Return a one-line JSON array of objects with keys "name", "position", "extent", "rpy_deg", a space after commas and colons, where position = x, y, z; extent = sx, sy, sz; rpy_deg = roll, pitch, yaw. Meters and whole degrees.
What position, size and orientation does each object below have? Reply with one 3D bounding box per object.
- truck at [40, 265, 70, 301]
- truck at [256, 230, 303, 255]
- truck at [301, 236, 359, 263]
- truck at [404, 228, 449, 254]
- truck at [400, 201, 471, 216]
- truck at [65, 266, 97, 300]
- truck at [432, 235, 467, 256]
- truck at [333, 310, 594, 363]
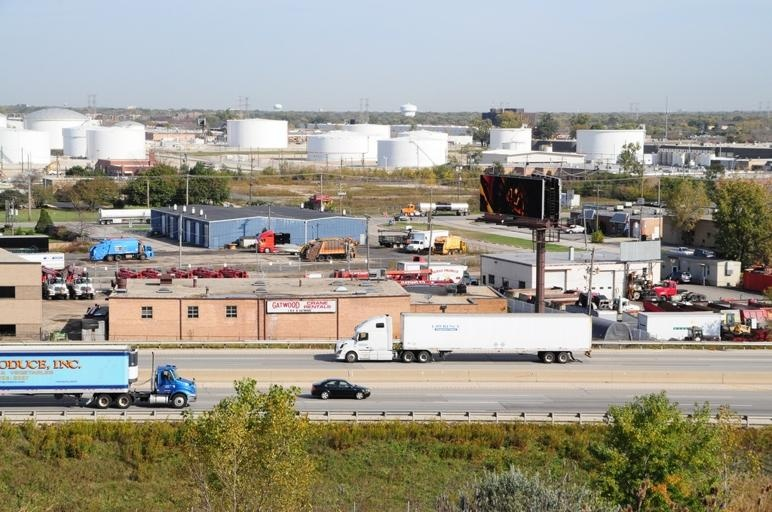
[{"name": "truck", "position": [-27.419, 2.304, 143.415], "extent": [1.772, 2.623, 5.218], "rpy_deg": [0, 6, -24]}, {"name": "truck", "position": [-10.129, -1.182, 164.116], "extent": [4.272, 1.932, 6.583], "rpy_deg": [0, 6, -3]}, {"name": "truck", "position": [-5.308, -0.344, 158.367], "extent": [3.785, 1.629, 2.229], "rpy_deg": [-2, 5, -11]}, {"name": "truck", "position": [4.017, -1.223, 164.702], "extent": [3.833, 1.872, 1.974], "rpy_deg": [-4, 9, -25]}, {"name": "truck", "position": [5.564, -4.893, 192.740], "extent": [8.138, 1.912, 2.075], "rpy_deg": [-2, 9, -18]}, {"name": "truck", "position": [-25.447, 2.472, 143.723], "extent": [1.597, 2.225, 4.539], "rpy_deg": [0, 2, -24]}, {"name": "truck", "position": [6.111, -0.818, 163.377], "extent": [2.770, 1.384, 1.601], "rpy_deg": [-3, 9, -29]}, {"name": "truck", "position": [5.964, 6.465, 128.728], "extent": [18.986, 3.886, 3.823], "rpy_deg": [-1, -8, 21]}]
